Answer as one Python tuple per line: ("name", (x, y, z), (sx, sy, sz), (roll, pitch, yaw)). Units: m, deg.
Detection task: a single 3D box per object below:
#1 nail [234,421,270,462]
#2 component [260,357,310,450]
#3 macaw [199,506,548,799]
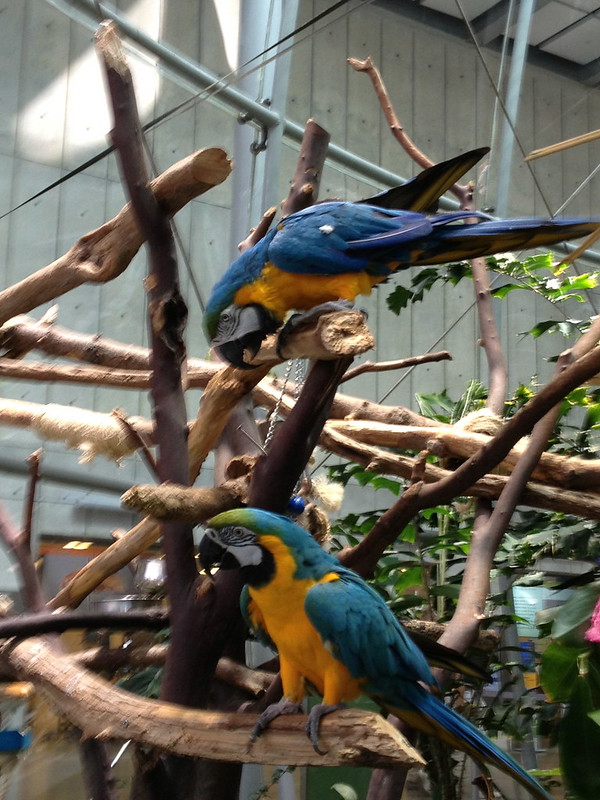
("nail", (-0.082, 0.085, 1.757), (0.045, 0.083, 0.048), (-40, -10, 12))
("component", (-0.027, -0.026, 1.910), (0.022, 0.192, 0.018), (34, -25, -12))
("macaw", (0.085, 0.372, 1.218), (0.471, 0.419, 0.297), (2, -13, -6))
